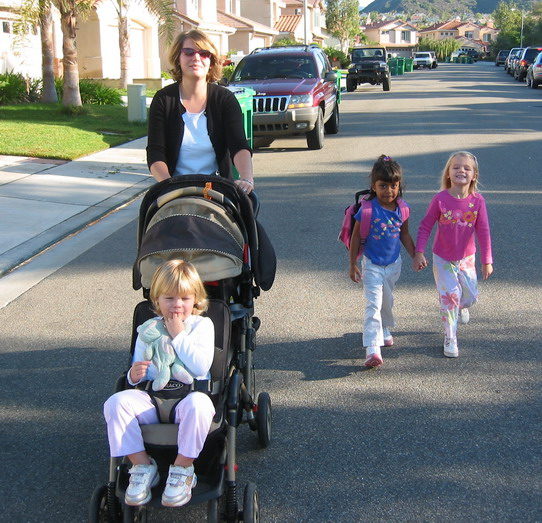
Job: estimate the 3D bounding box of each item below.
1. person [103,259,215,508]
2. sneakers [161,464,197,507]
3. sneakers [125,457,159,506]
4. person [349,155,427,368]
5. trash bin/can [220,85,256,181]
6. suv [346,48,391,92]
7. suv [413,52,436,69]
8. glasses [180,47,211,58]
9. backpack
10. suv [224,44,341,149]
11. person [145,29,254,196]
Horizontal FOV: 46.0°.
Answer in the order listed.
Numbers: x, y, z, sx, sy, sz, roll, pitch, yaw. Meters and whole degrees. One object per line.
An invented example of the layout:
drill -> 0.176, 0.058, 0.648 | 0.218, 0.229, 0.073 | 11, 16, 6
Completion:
person -> -0.430, 0.579, 2.539 | 0.419, 1.049, 0.729 | -1, 17, -5
sneakers -> -0.333, 0.805, 2.341 | 0.089, 0.109, 0.273 | 4, 5, 6
sneakers -> -0.474, 0.806, 2.353 | 0.064, 0.084, 0.178 | -2, 14, 4
person -> 0.727, -0.019, 4.277 | 0.409, 1.391, 0.537 | 12, 20, 36
trash bin/can -> -0.684, -2.329, 11.311 | 0.778, 1.485, 1.017 | 2, 13, 5
suv -> 5.506, -10.877, 35.800 | 2.211, 2.601, 4.476 | 2, 17, 11
suv -> 17.899, -23.506, 74.393 | 1.698, 1.645, 3.483 | 2, 10, 18
glasses -> -0.407, -1.153, 3.509 | 0.172, 0.058, 0.087 | -3, 17, -10
backpack -> 0.597, -0.259, 4.160 | 0.274, 0.428, 0.367 | -6, -2, 12
suv -> 0.494, -3.780, 14.270 | 1.661, 1.521, 3.206 | 0, 8, 10
person -> -0.403, -0.852, 3.491 | 0.564, 0.802, 0.550 | -2, 17, -8
